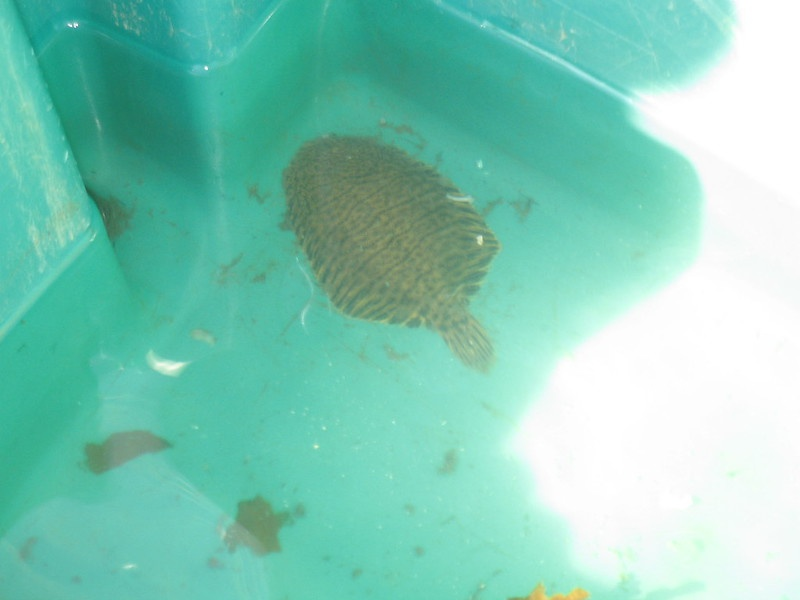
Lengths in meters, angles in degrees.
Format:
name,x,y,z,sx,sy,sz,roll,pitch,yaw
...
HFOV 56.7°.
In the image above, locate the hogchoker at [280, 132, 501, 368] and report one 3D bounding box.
name,x,y,z,sx,sy,sz,roll,pitch,yaw
hogchoker,-0.015,-0.094,1.240,0.385,0.315,0.131,12,-37,-8
